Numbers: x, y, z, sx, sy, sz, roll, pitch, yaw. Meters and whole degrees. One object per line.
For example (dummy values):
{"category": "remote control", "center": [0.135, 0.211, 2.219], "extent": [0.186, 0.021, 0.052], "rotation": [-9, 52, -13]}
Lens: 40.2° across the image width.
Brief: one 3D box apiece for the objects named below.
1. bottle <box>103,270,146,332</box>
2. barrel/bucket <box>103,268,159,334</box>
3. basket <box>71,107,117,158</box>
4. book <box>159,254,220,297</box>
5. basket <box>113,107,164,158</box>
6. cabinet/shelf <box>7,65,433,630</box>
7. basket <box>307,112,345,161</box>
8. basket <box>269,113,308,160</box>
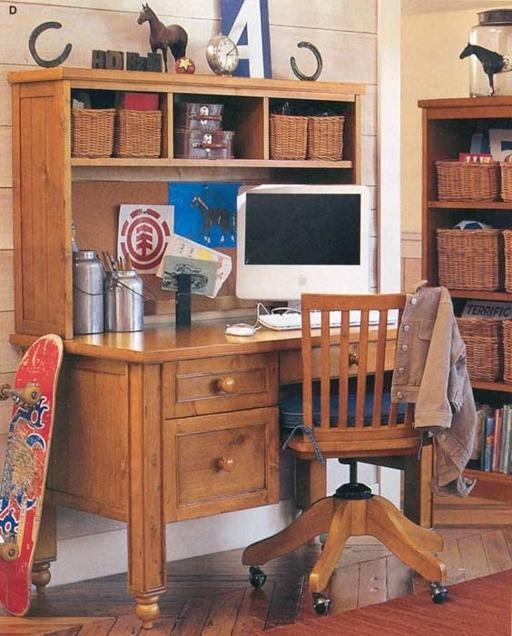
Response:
{"category": "bottle", "center": [-0.378, -0.063, 2.091], "extent": [0.166, 0.200, 0.192], "rotation": [-3, 7, -17]}
{"category": "barrel/bucket", "center": [-0.377, -0.063, 2.100], "extent": [0.169, 0.209, 0.201], "rotation": [-4, 7, -25]}
{"category": "basket", "center": [-0.444, -0.503, 1.911], "extent": [0.134, 0.114, 0.146], "rotation": [-1, 10, -10]}
{"category": "book", "center": [-0.209, -0.136, 2.168], "extent": [0.156, 0.097, 0.006], "rotation": [6, 4, -35]}
{"category": "basket", "center": [-0.337, -0.522, 1.991], "extent": [0.127, 0.108, 0.155], "rotation": [0, 3, -17]}
{"category": "cabinet/shelf", "center": [-0.120, 0.016, 2.012], "extent": [1.093, 1.132, 0.841], "rotation": [-1, 0, -19]}
{"category": "basket", "center": [0.237, -0.609, 2.365], "extent": [0.175, 0.143, 0.147], "rotation": [2, 4, 6]}
{"category": "basket", "center": [0.110, -0.591, 2.278], "extent": [0.145, 0.124, 0.159], "rotation": [-3, 9, -27]}
